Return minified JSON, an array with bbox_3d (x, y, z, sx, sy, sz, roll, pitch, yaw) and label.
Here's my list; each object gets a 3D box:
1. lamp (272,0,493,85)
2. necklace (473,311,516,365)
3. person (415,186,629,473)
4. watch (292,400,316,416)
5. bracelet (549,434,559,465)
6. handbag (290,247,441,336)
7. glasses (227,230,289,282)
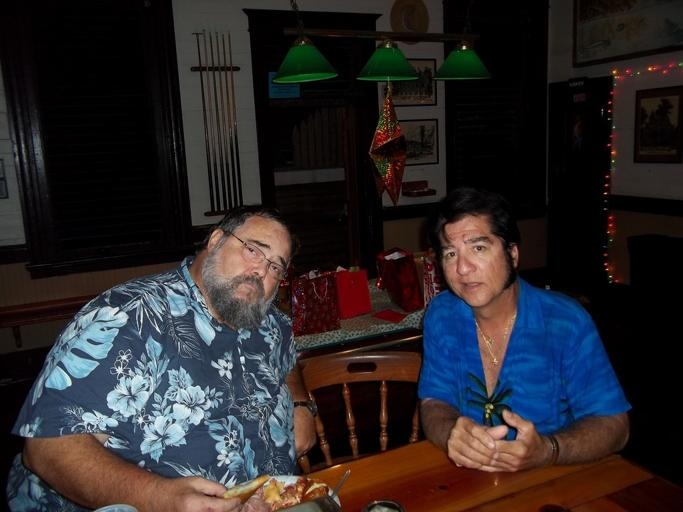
[{"bbox_3d":[0.294,-2.032,4.779,1.886,0.759,0.508,-4,11,-22],"label":"lamp"},{"bbox_3d":[0.669,0.363,2.186,0.139,0.238,0.062,0,5,20],"label":"necklace"},{"bbox_3d":[0.688,0.235,1.981,0.802,1.010,0.668,-3,9,8],"label":"person"},{"bbox_3d":[-0.152,0.635,2.154,0.072,0.030,0.074,0,-3,-25],"label":"watch"},{"bbox_3d":[0.747,0.681,1.783,0.022,0.065,0.057,4,9,15],"label":"bracelet"},{"bbox_3d":[0.109,0.216,3.123,0.757,0.292,0.469,-5,1,-24],"label":"handbag"},{"bbox_3d":[-0.347,0.005,2.133,0.064,0.209,0.207,-46,37,-6],"label":"glasses"}]
